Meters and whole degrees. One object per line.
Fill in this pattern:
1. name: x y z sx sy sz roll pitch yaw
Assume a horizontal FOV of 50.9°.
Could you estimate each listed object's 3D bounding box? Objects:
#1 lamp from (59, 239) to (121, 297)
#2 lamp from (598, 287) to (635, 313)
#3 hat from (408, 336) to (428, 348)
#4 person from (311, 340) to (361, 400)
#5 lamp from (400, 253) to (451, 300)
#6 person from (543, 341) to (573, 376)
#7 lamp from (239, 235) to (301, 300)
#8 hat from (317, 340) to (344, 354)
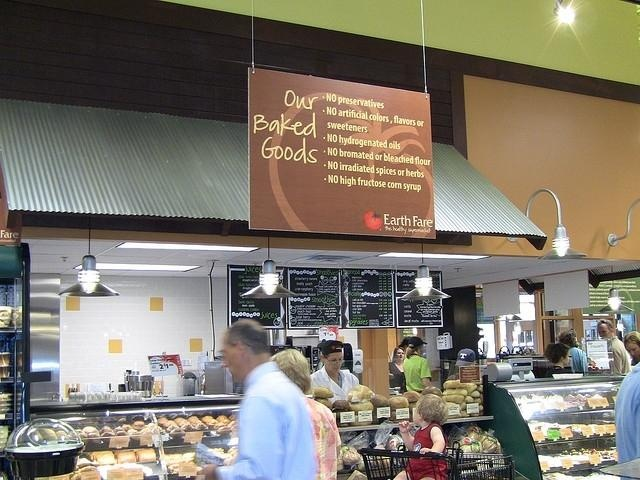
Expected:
1. lamp: -2.069 0.245 6.026 0.508 0.520 0.491 1 5 -13
2. lamp: 5.361 1.085 12.082 0.669 0.466 0.643 3 -4 -39
3. hat: 1.327 1.447 9.281 0.207 0.107 0.145 -6 7 -42
4. person: 0.146 1.443 7.016 0.544 0.707 0.392 2 -15 -15
5. lamp: 1.102 0.411 7.019 0.468 0.480 0.484 -1 -8 2
6. person: 3.152 1.574 8.865 0.293 0.406 0.944 -5 -9 19
7. lamp: -0.457 0.279 6.540 0.594 0.641 0.624 -1 -4 3
8. hat: 0.113 1.145 7.154 0.233 0.105 0.288 0 -3 -4
